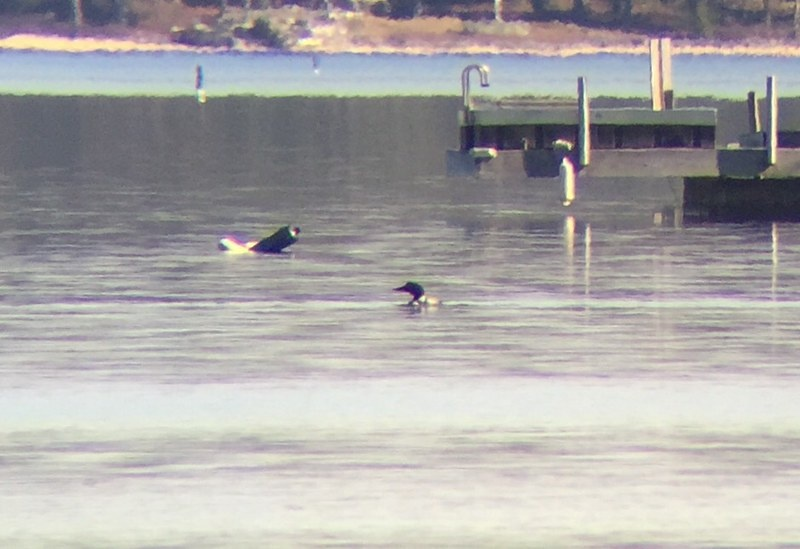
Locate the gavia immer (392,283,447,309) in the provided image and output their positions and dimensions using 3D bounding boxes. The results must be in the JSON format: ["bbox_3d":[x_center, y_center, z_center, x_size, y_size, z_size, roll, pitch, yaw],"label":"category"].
[{"bbox_3d":[0.242,0.330,37.804,0.505,0.159,0.599,19,0,-23],"label":"gavia immer"}]
